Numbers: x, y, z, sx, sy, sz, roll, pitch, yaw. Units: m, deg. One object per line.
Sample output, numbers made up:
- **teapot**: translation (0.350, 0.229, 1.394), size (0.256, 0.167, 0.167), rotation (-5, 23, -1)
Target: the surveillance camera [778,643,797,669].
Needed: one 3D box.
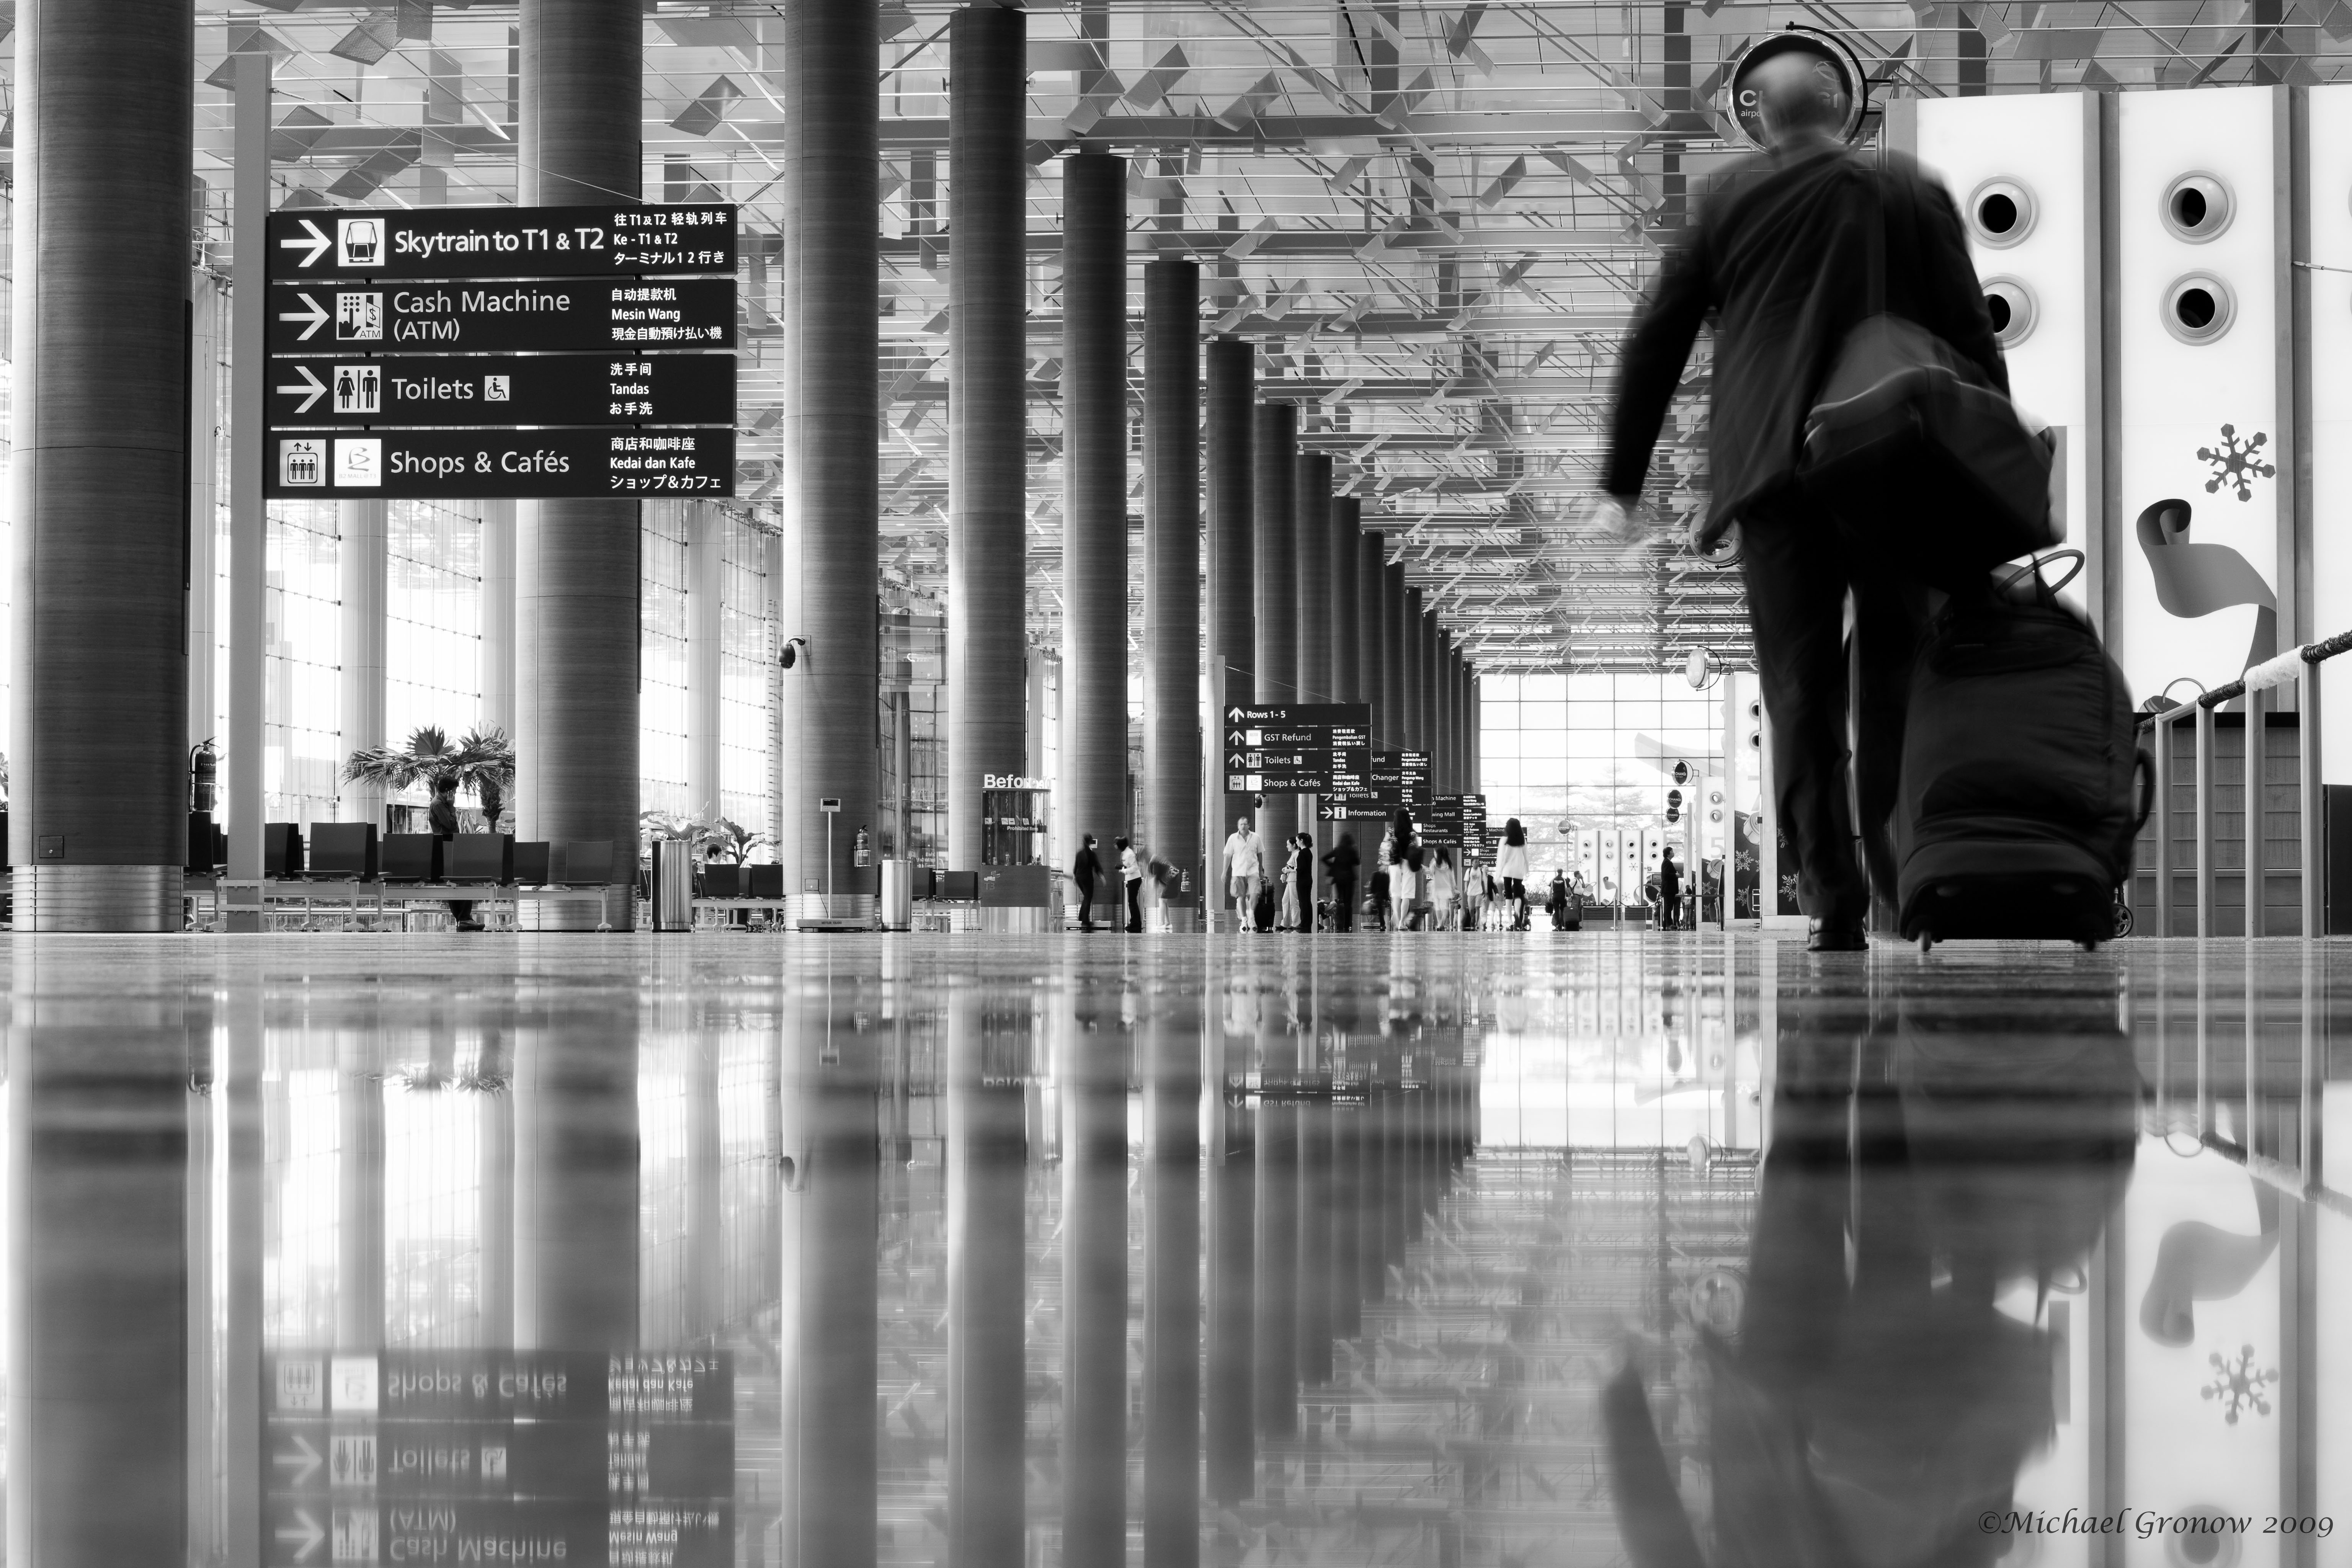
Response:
- **surveillance camera**: translation (-4.518, -1.431, 48.867), size (0.212, 0.238, 0.244), rotation (2, -32, -5)

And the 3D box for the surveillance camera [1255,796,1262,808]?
- **surveillance camera**: translation (1.376, 0.338, 73.096), size (0.156, 0.171, 0.264), rotation (0, -1, 11)

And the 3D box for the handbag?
- **handbag**: translation (4.675, -2.091, 26.729), size (1.555, 1.649, 0.453), rotation (0, -2, 8)
